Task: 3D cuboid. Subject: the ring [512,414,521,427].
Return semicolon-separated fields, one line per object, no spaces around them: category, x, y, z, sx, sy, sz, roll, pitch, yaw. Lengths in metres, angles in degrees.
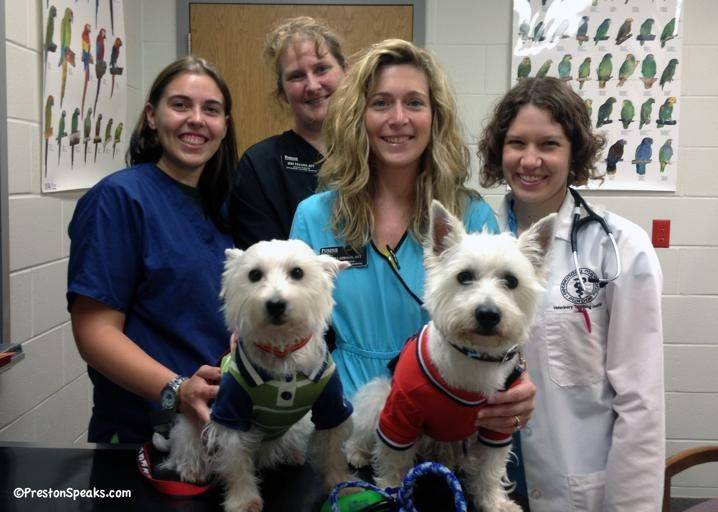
ring;0.643;0.678;2.450;0.027;0.039;0.041;1;2;11
